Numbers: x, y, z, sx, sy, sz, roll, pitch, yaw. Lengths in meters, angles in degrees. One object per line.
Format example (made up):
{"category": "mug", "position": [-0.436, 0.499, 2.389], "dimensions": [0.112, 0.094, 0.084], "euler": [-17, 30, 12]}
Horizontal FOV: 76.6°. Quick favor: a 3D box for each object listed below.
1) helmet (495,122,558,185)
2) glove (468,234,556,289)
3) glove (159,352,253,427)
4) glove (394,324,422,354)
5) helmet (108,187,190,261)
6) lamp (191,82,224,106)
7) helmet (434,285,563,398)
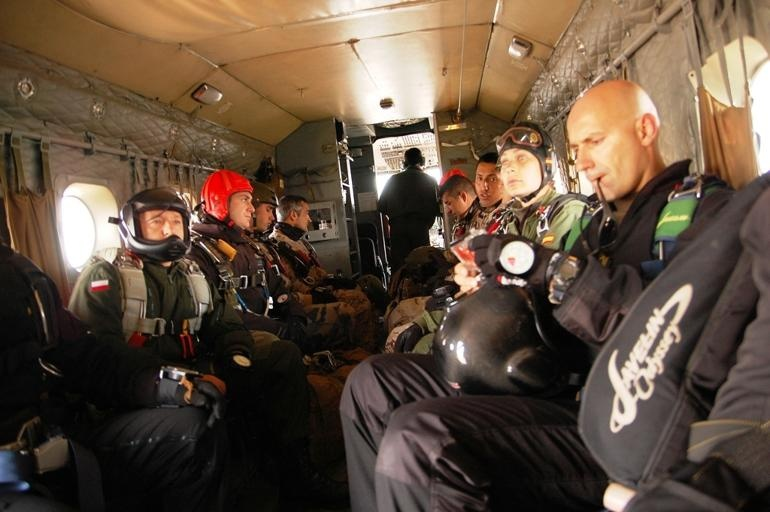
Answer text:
{"category": "helmet", "position": [0.982, -0.656, 3.494], "dimensions": [0.443, 0.449, 0.381], "euler": [11, -17, -38]}
{"category": "glove", "position": [0.549, 0.012, 2.121], "dimensions": [0.371, 0.217, 0.121], "euler": [1, 6, 18]}
{"category": "glove", "position": [-1.099, 0.747, 2.843], "dimensions": [0.379, 0.345, 0.162], "euler": [9, 3, -7]}
{"category": "glove", "position": [0.169, 0.547, 3.289], "dimensions": [0.139, 0.090, 0.198], "euler": [-23, 8, 38]}
{"category": "helmet", "position": [-1.510, -0.185, 3.277], "dimensions": [0.519, 0.421, 0.529], "euler": [-4, -4, 37]}
{"category": "lamp", "position": [-2.164, -1.920, 5.749], "dimensions": [0.310, 0.170, 0.356], "euler": [0, 6, 11]}
{"category": "helmet", "position": [0.488, 0.411, 2.383], "dimensions": [0.597, 0.415, 0.449], "euler": [11, -15, 8]}
